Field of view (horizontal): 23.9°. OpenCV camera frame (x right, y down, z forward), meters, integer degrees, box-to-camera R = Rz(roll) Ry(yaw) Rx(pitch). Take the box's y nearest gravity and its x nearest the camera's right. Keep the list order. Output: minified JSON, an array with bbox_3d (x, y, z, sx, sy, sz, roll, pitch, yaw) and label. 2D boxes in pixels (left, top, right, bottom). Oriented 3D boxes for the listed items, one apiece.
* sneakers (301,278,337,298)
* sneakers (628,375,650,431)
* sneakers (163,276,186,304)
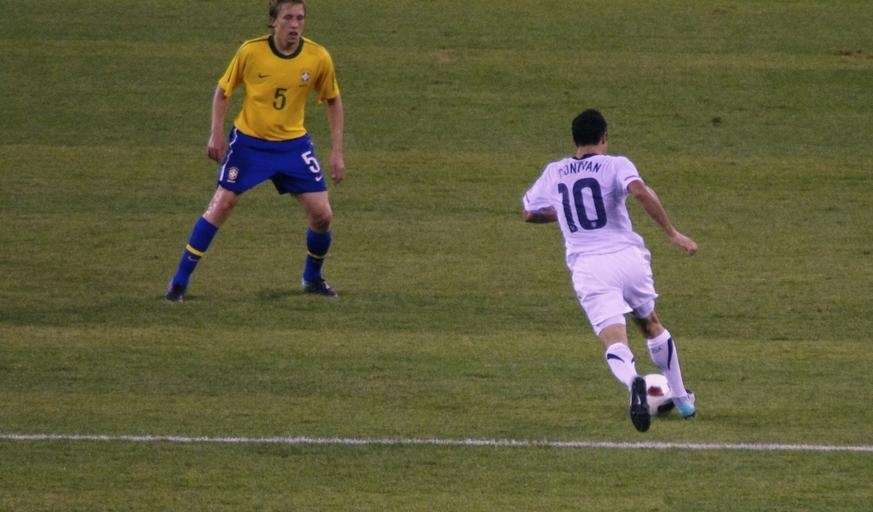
[{"bbox_3d":[-1.293,0.392,23.335,0.469,0.161,0.157,4,9,-2],"label":"sneakers"},{"bbox_3d":[2.067,1.536,21.060,0.205,0.573,0.293,2,22,-2],"label":"sneakers"},{"bbox_3d":[-2.868,0.423,23.127,0.245,0.250,0.104,17,21,8],"label":"sneakers"}]
